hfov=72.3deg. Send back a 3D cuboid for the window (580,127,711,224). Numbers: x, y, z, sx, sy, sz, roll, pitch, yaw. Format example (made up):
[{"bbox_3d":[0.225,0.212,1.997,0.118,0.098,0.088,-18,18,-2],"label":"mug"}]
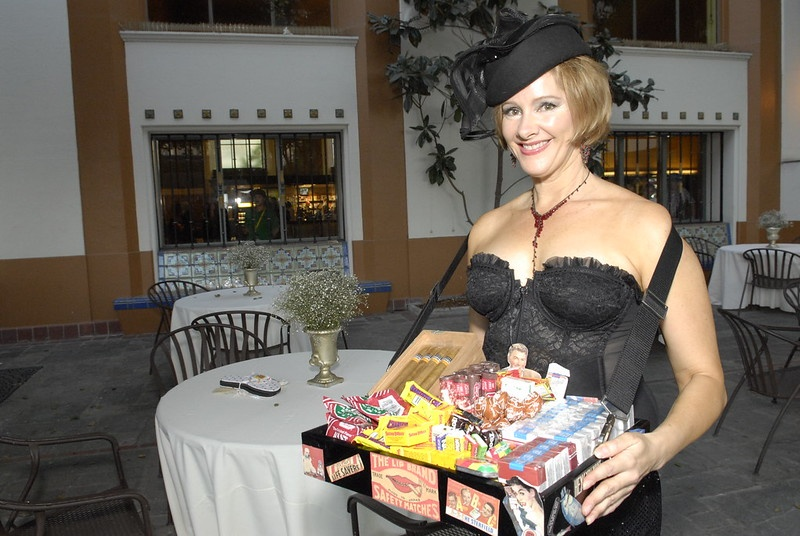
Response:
[{"bbox_3d":[5.018,-1.674,9.881,2.285,1.771,0.209,0,-8,-22],"label":"window"}]

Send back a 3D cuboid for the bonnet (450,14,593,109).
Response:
[{"bbox_3d":[0.457,-0.736,2.012,0.449,0.261,0.422,-21,-5,-39],"label":"bonnet"}]

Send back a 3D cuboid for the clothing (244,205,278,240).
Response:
[{"bbox_3d":[-2.136,-0.693,8.297,0.454,0.501,0.259,1,10,4],"label":"clothing"}]

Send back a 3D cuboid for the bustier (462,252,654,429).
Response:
[{"bbox_3d":[0.561,0.237,2.088,0.650,0.546,0.423,5,2,40],"label":"bustier"}]

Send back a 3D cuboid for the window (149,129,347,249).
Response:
[{"bbox_3d":[-2.191,-1.118,8.393,3.014,1.881,0.215,-8,26,-34],"label":"window"}]

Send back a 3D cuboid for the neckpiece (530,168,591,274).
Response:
[{"bbox_3d":[0.584,-0.197,2.056,0.149,0.489,0.014,11,-8,38],"label":"neckpiece"}]
